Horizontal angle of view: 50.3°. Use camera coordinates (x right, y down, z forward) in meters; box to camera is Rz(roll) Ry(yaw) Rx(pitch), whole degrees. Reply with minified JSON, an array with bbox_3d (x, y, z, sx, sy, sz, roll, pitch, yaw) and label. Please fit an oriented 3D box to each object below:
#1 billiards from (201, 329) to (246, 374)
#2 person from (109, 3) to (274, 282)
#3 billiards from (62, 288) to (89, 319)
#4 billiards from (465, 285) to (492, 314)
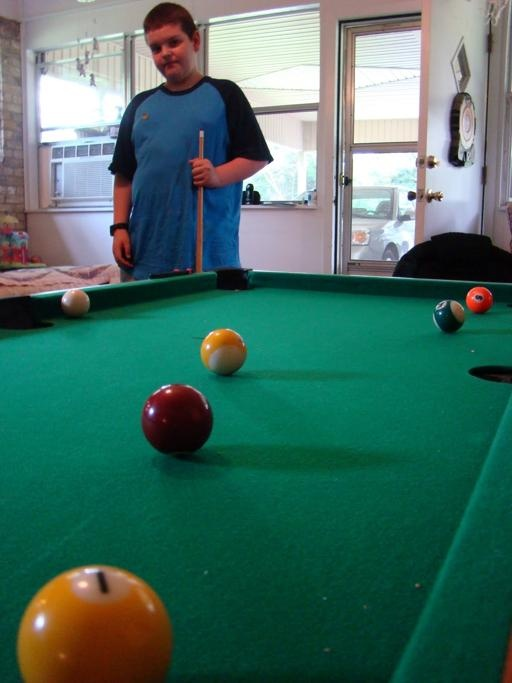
[{"bbox_3d":[-0.076,0.020,1.149,0.127,0.093,0.097,2,14,-10],"label":"billiards"},{"bbox_3d":[-0.369,-0.964,2.807,0.869,1.310,0.525,7,11,35],"label":"person"},{"bbox_3d":[-0.563,-0.121,1.759,0.070,0.097,0.077,0,19,19],"label":"billiards"},{"bbox_3d":[0.778,-0.141,1.936,0.082,0.113,0.089,7,-6,19],"label":"billiards"}]
